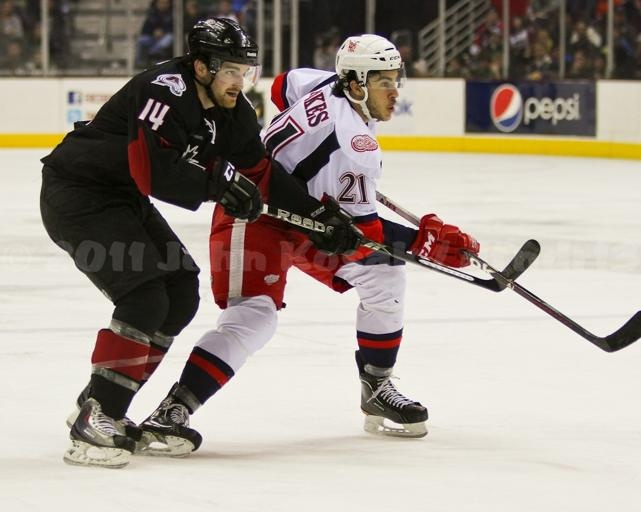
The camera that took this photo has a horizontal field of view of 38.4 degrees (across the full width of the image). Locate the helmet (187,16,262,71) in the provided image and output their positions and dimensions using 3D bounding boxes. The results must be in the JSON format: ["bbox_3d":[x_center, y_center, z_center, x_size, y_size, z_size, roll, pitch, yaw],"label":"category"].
[{"bbox_3d":[-0.259,-0.618,2.683,0.221,0.153,0.156,-2,11,0],"label":"helmet"}]

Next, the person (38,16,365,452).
[{"bbox_3d":[-0.417,-0.067,2.708,0.737,1.236,0.403,-5,16,-22],"label":"person"}]

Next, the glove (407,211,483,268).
[{"bbox_3d":[0.416,-0.043,3.159,0.272,0.121,0.097,20,-15,-17],"label":"glove"}]

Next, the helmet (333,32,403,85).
[{"bbox_3d":[0.175,-0.653,3.070,0.239,0.169,0.168,-4,12,6],"label":"helmet"}]
